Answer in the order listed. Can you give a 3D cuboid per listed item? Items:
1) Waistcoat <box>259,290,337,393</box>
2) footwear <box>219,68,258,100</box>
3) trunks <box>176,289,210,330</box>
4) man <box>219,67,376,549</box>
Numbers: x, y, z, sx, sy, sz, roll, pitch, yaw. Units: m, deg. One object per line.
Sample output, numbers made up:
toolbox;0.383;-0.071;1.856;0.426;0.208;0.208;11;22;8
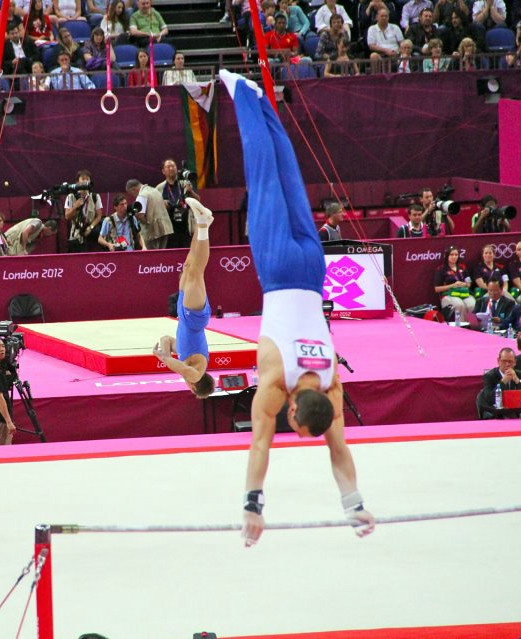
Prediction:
Waistcoat;0.184;0.139;6.446;0.369;0.319;0.595;-4;60;-18
footwear;-0.106;-1.401;7.198;0.079;0.225;0.216;-36;24;-11
trunks;-0.429;0.013;7.611;0.178;0.246;0.327;-3;18;-14
man;0.117;-0.256;6.659;0.730;2.379;0.393;14;-29;-41
